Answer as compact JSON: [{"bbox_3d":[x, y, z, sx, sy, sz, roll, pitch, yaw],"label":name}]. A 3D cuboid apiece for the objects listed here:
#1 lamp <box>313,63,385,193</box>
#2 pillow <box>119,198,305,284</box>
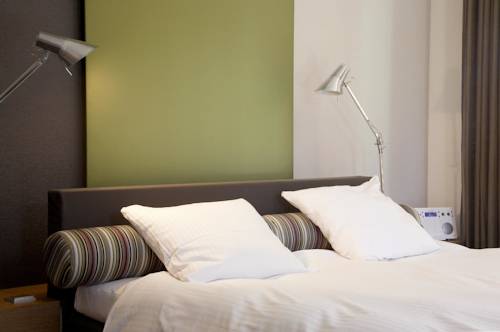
[{"bbox_3d":[0.943,-0.302,3.638,0.948,1.151,0.461,-3,7,-21],"label":"lamp"},{"bbox_3d":[-0.159,0.421,2.221,0.576,0.181,0.609,9,19,-32],"label":"pillow"}]
